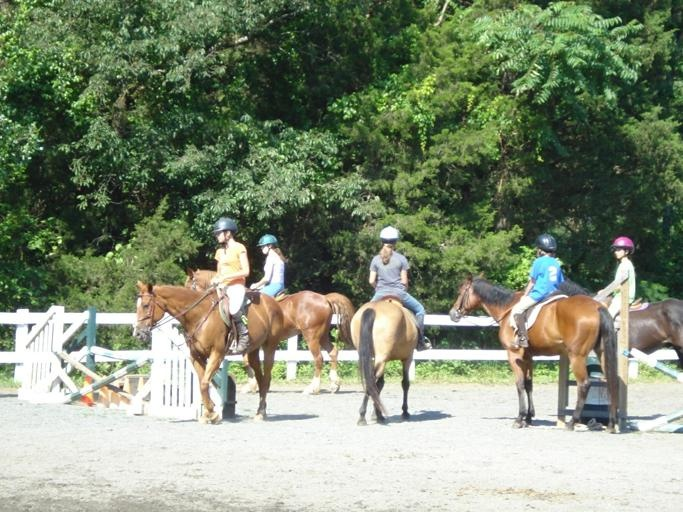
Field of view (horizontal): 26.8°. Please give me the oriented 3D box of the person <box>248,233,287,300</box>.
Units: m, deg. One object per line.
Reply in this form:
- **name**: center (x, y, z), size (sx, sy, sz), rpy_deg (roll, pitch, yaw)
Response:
- **person**: center (-1.887, 0.402, 39.798), size (0.756, 1.836, 0.798), rpy_deg (-1, 9, -39)

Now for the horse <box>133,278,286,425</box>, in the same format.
- **horse**: center (-3.107, 2.489, 36.793), size (4.165, 3.873, 1.220), rpy_deg (-2, 5, -27)

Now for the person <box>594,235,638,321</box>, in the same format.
- **person**: center (7.187, 0.719, 37.735), size (1.087, 2.445, 0.687), rpy_deg (3, 10, 21)

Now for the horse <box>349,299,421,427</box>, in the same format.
- **horse**: center (1.131, 2.695, 36.520), size (1.637, 3.198, 0.854), rpy_deg (3, -6, -36)

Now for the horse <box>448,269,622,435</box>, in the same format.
- **horse**: center (5.189, 2.514, 36.487), size (3.693, 4.036, 1.191), rpy_deg (-3, -5, 19)

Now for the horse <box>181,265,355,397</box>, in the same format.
- **horse**: center (-2.016, 2.771, 40.640), size (3.260, 4.280, 4.516), rpy_deg (9, 9, 42)

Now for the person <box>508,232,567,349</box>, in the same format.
- **person**: center (4.976, 0.762, 36.603), size (1.186, 3.016, 1.165), rpy_deg (3, 7, 43)
